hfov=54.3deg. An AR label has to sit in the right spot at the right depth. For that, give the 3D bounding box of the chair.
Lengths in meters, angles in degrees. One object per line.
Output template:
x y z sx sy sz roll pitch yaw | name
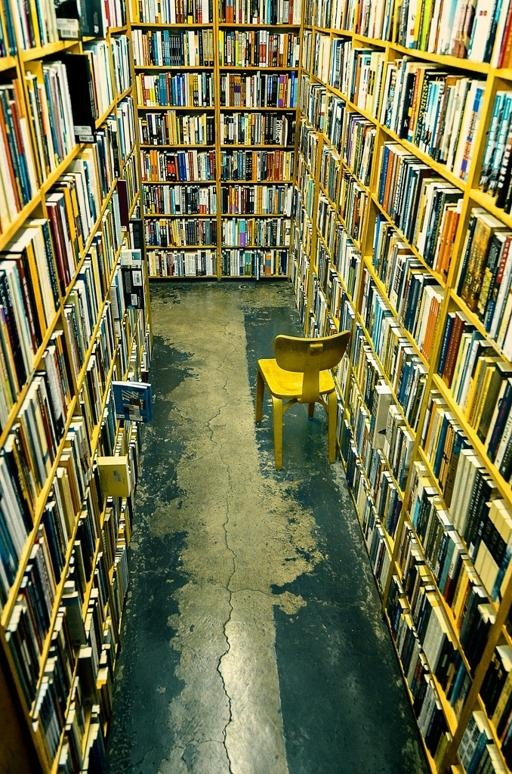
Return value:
0.261 -0.024 3.310 0.425 1.001 0.709 -2 29 -5 | chair
